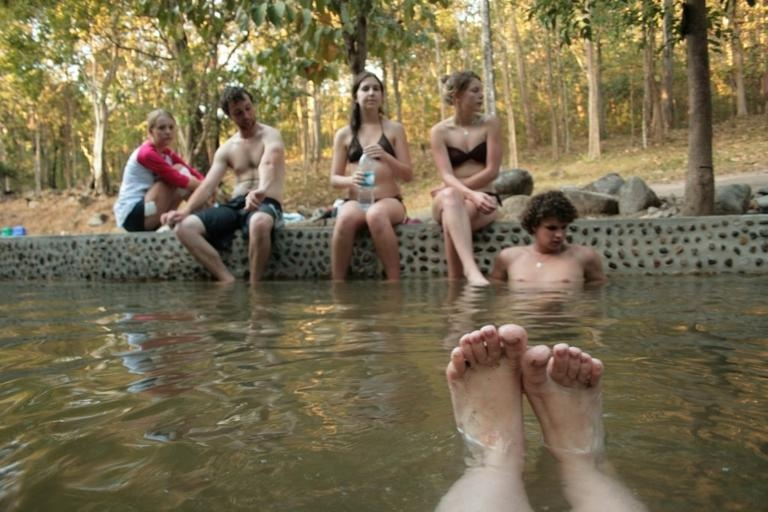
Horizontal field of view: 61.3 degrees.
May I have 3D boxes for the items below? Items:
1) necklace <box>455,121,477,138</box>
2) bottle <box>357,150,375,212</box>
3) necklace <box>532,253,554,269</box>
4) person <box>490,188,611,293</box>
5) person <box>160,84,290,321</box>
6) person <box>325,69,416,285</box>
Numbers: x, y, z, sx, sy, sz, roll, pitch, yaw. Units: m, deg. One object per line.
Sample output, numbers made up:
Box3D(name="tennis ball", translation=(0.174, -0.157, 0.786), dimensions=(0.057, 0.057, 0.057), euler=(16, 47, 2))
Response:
Box3D(name="necklace", translation=(0.668, -1.044, 5.352), dimensions=(0.141, 0.126, 0.039), euler=(-3, 25, 4))
Box3D(name="bottle", translation=(-0.141, -0.597, 5.218), dimensions=(0.151, 0.445, 0.272), euler=(-2, 8, -2))
Box3D(name="necklace", translation=(1.114, 0.043, 4.572), dimensions=(0.143, 0.093, 0.049), euler=(-3, -23, 28))
Box3D(name="person", translation=(1.162, -0.111, 4.694), dimensions=(0.832, 0.677, 0.473), euler=(2, 2, 31))
Box3D(name="person", translation=(-1.274, -0.553, 5.506), dimensions=(1.191, 1.816, 1.048), euler=(-2, 0, -37))
Box3D(name="person", translation=(-0.119, -0.680, 5.334), dimensions=(0.690, 1.727, 0.751), euler=(-1, 8, 2))
